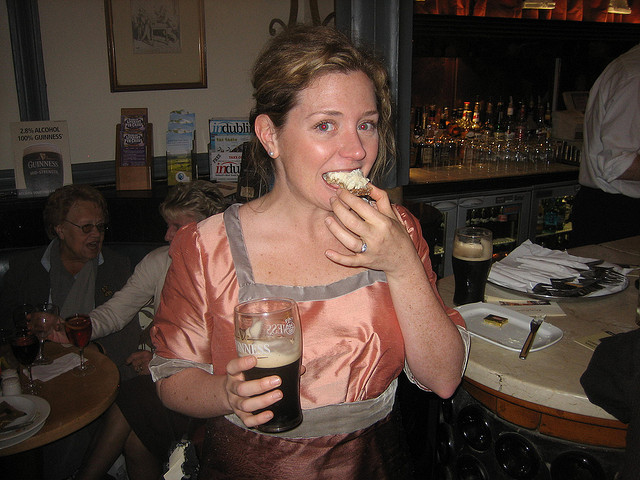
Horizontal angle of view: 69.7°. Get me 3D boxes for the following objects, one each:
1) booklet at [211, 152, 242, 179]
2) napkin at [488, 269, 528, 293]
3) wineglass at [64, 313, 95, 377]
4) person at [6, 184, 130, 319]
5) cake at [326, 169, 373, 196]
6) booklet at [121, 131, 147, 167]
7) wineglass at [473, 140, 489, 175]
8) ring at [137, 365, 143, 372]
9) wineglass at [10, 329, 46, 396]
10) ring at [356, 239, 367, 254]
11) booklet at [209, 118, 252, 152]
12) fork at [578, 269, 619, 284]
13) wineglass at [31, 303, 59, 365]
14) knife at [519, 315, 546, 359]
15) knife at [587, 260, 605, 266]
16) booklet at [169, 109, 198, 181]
[{"bbox_3d":[-0.840,-0.670,4.095,0.299,0.257,0.042,0,6,-1],"label":"booklet"},{"bbox_3d":[0.864,0.177,2.169,0.211,0.064,0.060,32,18,36],"label":"napkin"},{"bbox_3d":[-1.232,0.549,2.375,0.120,0.246,0.128,-4,2,27],"label":"wineglass"},{"bbox_3d":[-1.693,0.101,3.056,0.895,0.961,0.516,2,-6,-39],"label":"person"},{"bbox_3d":[0.094,-0.177,1.408,0.083,0.040,0.100,0,24,-27],"label":"cake"},{"bbox_3d":[-1.564,-0.781,3.941,0.232,0.312,0.163,-1,0,7],"label":"booklet"},{"bbox_3d":[1.768,-0.954,5.071,0.158,0.389,0.157,6,52,23],"label":"wineglass"},{"bbox_3d":[-1.092,0.783,2.794,0.024,0.008,0.024,4,39,-3],"label":"ring"},{"bbox_3d":[-1.398,0.566,2.202,0.159,0.330,0.155,12,16,0],"label":"wineglass"},{"bbox_3d":[0.121,0.016,1.349,0.012,0.030,0.024,19,20,-31],"label":"ring"},{"bbox_3d":[-0.911,-0.944,4.211,0.261,0.332,0.514,19,22,30],"label":"booklet"},{"bbox_3d":[1.274,0.175,2.107,0.157,0.033,0.083,1,11,13],"label":"fork"},{"bbox_3d":[-1.474,0.471,2.453,0.156,0.340,0.152,14,17,20],"label":"wineglass"},{"bbox_3d":[0.782,0.365,1.715,0.055,0.021,0.398,15,28,24],"label":"knife"},{"bbox_3d":[1.338,0.115,2.235,0.106,0.012,0.031,-5,11,-21],"label":"knife"},{"bbox_3d":[-1.196,-0.790,4.024,0.239,0.767,0.174,-3,17,-21],"label":"booklet"}]
